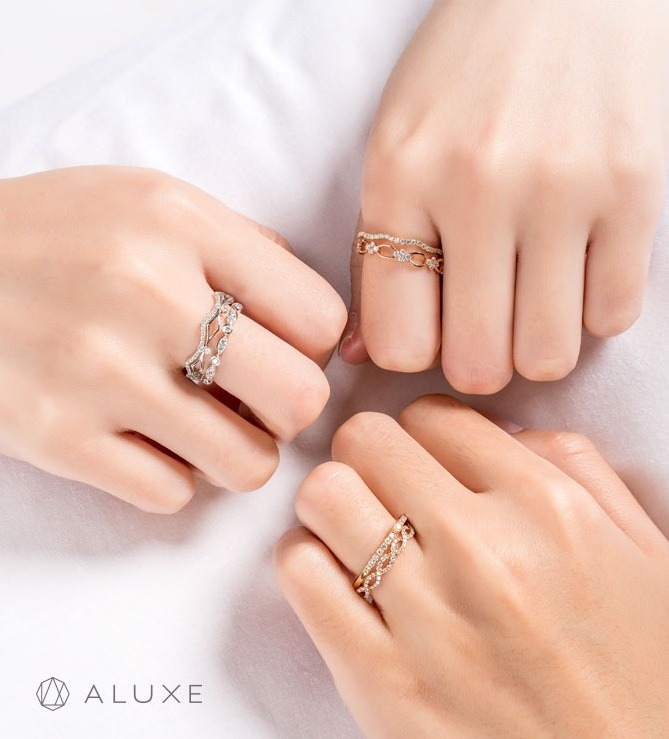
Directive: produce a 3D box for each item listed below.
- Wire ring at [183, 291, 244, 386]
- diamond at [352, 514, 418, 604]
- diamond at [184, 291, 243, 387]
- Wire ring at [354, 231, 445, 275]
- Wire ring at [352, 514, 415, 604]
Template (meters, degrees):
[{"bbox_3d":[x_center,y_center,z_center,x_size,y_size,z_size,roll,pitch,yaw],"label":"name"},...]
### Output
[{"bbox_3d":[-0.123,-0.032,0.764,0.032,0.067,0.085,24,80,-18],"label":"Wire ring"},{"bbox_3d":[0.056,0.192,0.795,0.029,0.073,0.080,41,36,-1],"label":"diamond"},{"bbox_3d":[-0.109,-0.033,0.797,0.033,0.067,0.085,25,82,-17],"label":"diamond"},{"bbox_3d":[0.073,-0.126,0.797,0.059,0.057,0.016,18,96,28],"label":"Wire ring"},{"bbox_3d":[0.055,0.192,0.797,0.032,0.072,0.080,41,33,-1],"label":"Wire ring"}]
